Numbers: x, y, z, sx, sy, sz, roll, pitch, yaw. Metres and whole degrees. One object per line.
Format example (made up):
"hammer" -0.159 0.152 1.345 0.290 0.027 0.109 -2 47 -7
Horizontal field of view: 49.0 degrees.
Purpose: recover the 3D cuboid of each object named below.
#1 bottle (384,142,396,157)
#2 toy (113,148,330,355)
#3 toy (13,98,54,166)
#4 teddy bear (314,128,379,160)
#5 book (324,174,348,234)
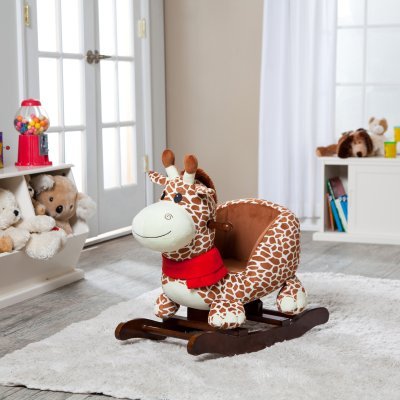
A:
"bottle" 1.155 -0.311 2.673 0.066 0.100 0.104 0 5 24
"toy" 0.073 0.166 1.430 0.477 0.546 0.671 -2 -1 37
"toy" -0.788 -0.317 2.056 0.159 0.315 0.205 -4 6 -18
"teddy bear" 0.881 -0.340 2.776 0.307 0.136 0.231 -3 0 18
"book" 0.890 0.040 2.838 0.099 0.284 0.233 -4 4 31
